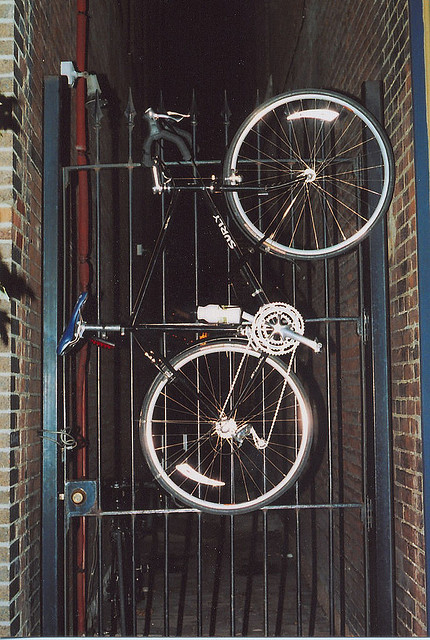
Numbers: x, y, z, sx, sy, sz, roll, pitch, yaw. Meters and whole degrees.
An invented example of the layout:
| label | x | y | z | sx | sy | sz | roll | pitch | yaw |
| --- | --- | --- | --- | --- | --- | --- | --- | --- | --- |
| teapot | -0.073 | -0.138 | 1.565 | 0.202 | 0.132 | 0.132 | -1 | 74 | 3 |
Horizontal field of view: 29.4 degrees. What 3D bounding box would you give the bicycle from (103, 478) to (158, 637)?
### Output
| label | x | y | z | sx | sy | sz | roll | pitch | yaw |
| --- | --- | --- | --- | --- | --- | --- | --- | --- | --- |
| bicycle | -0.590 | 1.624 | 5.535 | 0.194 | 0.816 | 0.578 | -5 | 104 | -2 |
